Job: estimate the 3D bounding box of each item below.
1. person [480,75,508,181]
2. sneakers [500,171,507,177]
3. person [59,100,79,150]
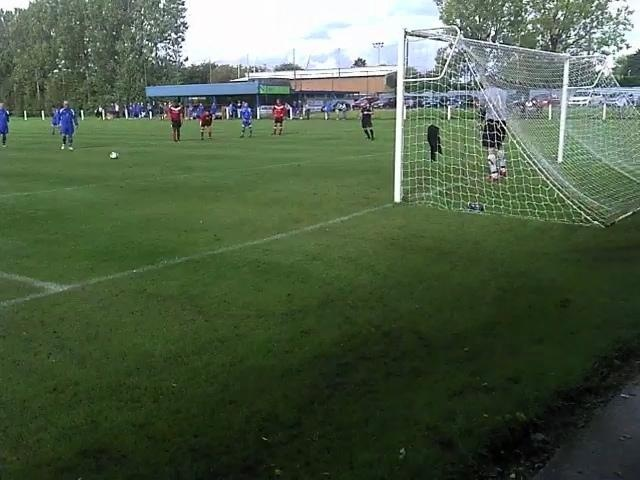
[{"bbox_3d":[3.438,-2.084,10.362,0.481,1.833,1.359,4,11,19],"label":"person"},{"bbox_3d":[3.838,-1.368,11.050,0.080,0.119,0.113,0,-8,2],"label":"sneakers"},{"bbox_3d":[-9.628,-4.374,20.215,0.677,1.773,0.588,-2,8,-24],"label":"person"}]
